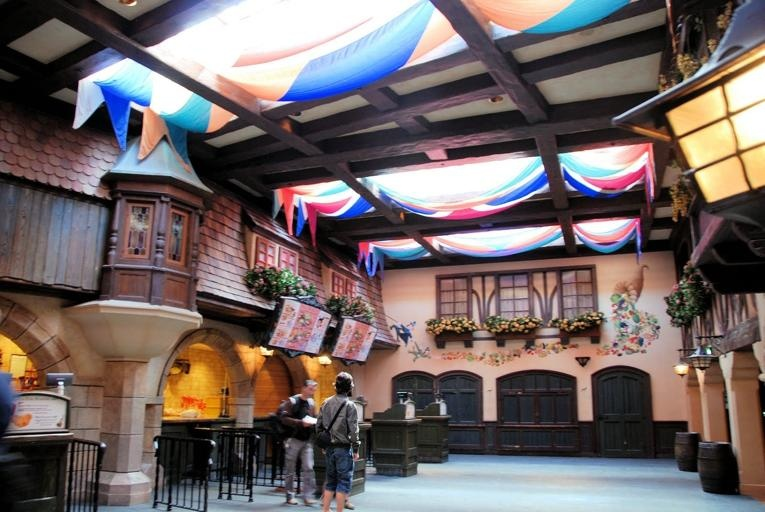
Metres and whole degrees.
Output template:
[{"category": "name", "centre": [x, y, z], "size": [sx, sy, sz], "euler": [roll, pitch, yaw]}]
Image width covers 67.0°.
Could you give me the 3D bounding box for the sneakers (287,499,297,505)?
[{"category": "sneakers", "centre": [-1.469, 3.960, 9.313], "size": [0.169, 0.082, 0.214], "euler": [2, -15, -7]}]

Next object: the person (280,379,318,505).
[{"category": "person", "centre": [-1.431, 3.070, 9.555], "size": [0.671, 1.944, 0.874], "euler": [2, -20, -7]}]

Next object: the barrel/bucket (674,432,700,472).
[{"category": "barrel/bucket", "centre": [6.937, 4.492, 13.184], "size": [0.414, 0.865, 0.588], "euler": [18, -26, -41]}]

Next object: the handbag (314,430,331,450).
[{"category": "handbag", "centre": [-0.854, 2.528, 7.930], "size": [0.122, 0.222, 0.276], "euler": [18, -24, -42]}]

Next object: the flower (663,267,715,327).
[{"category": "flower", "centre": [6.523, 0.957, 12.260], "size": [0.790, 0.674, 2.282], "euler": [-23, -21, 16]}]
